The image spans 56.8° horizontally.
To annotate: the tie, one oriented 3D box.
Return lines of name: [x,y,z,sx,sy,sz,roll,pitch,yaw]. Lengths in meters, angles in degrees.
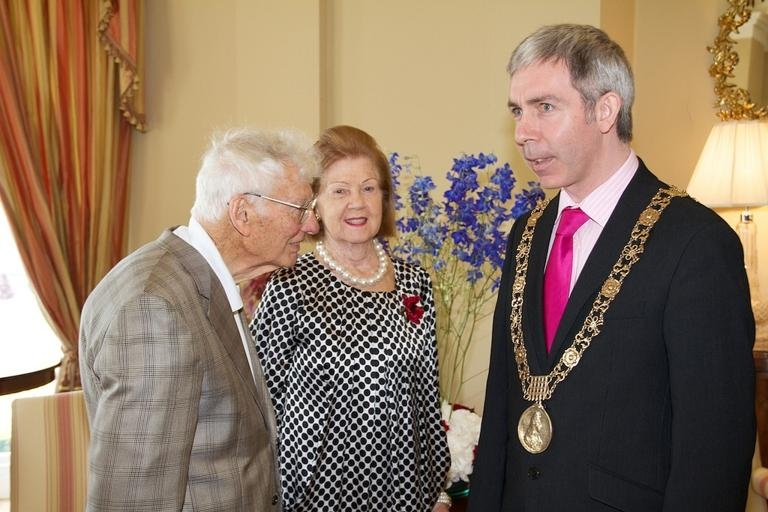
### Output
tie: [0.628,0.076,2.515,0.125,0.550,0.045,-3,-16,40]

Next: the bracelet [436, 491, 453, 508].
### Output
bracelet: [0.256,1.048,3.020,0.050,0.070,0.026,5,28,28]
